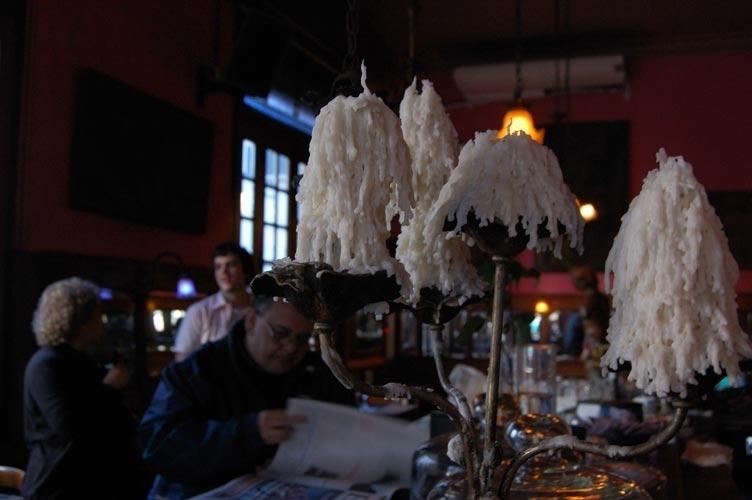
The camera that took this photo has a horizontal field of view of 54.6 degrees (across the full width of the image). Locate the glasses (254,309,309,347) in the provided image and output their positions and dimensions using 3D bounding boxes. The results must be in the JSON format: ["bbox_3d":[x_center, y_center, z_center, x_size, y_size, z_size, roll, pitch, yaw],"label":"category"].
[{"bbox_3d":[-0.320,0.260,2.551,0.131,0.098,0.173,10,-6,-22],"label":"glasses"}]

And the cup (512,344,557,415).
[{"bbox_3d":[0.659,0.531,3.030,0.178,0.288,0.309,-3,-8,13],"label":"cup"}]
